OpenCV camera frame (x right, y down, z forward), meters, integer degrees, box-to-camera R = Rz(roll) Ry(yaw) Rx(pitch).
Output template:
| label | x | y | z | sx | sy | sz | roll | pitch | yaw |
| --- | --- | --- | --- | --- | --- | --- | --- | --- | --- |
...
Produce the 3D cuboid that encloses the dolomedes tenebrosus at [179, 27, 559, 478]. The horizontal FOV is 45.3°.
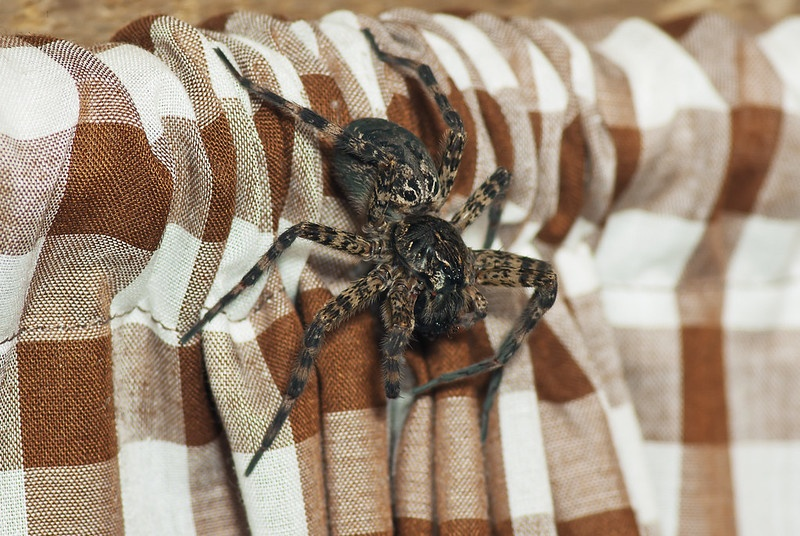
| label | x | y | z | sx | sy | sz | roll | pitch | yaw |
| --- | --- | --- | --- | --- | --- | --- | --- | --- | --- |
| dolomedes tenebrosus | -0.095 | -0.102 | 1.986 | 0.696 | 0.230 | 0.838 | -23 | 98 | -32 |
